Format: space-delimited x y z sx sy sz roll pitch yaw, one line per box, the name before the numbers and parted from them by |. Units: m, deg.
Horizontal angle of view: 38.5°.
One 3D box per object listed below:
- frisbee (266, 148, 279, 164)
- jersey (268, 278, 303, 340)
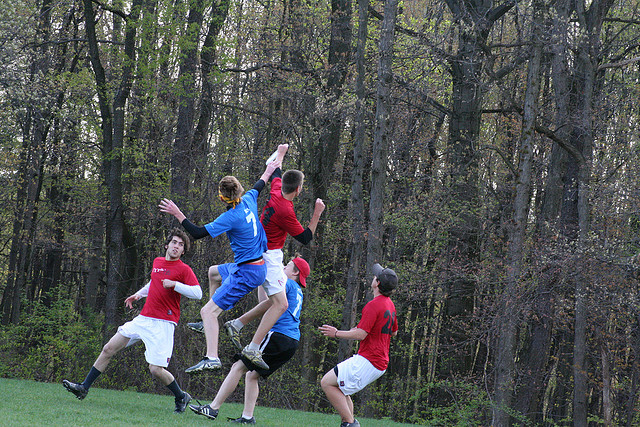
frisbee | -1.571 -1.828 30.090 0.109 0.398 0.397 39 -11 -2
jersey | -1.280 2.994 29.895 1.012 1.884 1.842 2 -5 24
